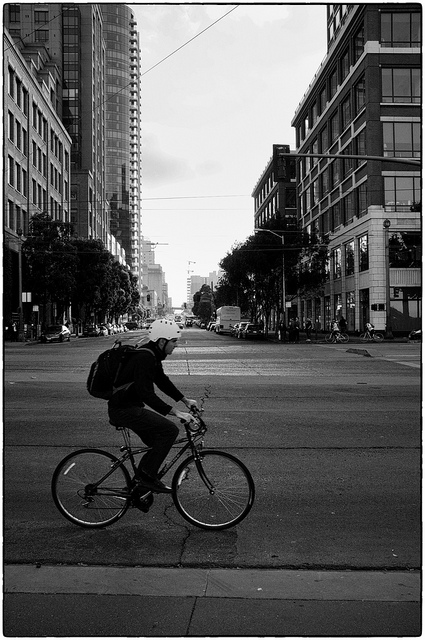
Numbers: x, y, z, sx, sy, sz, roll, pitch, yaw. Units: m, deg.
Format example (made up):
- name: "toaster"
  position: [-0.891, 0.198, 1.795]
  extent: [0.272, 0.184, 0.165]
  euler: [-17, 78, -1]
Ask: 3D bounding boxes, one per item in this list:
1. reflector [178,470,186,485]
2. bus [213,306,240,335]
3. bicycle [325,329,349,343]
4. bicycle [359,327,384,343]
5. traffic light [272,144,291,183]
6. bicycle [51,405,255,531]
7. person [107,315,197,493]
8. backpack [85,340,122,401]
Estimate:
- name: "reflector"
  position: [-0.239, 1.184, 7.332]
  extent: [0.019, 0.107, 0.072]
  euler: [1, 0, 42]
- name: "bus"
  position: [1.079, 0.054, 74.890]
  extent: [1.818, 2.839, 5.414]
  euler: [1, 3, 0]
- name: "bicycle"
  position: [5.745, 0.742, 44.964]
  extent: [1.006, 0.793, 0.571]
  euler: [2, -7, 3]
- name: "bicycle"
  position: [6.802, 0.650, 41.935]
  extent: [0.966, 0.758, 0.538]
  euler: [1, -3, 20]
- name: "traffic light"
  position: [1.527, -3.547, 21.911]
  extent: [0.383, 0.888, 1.523]
  euler: [1, -1, 4]
- name: "bicycle"
  position: [-0.460, 1.162, 7.460]
  extent: [1.511, 0.892, 1.116]
  euler: [2, 42, -5]
- name: "person"
  position: [-0.457, 0.643, 7.264]
  extent: [0.631, 1.313, 0.510]
  euler: [1, 0, -20]
- name: "backpack"
  position: [-0.757, 0.433, 7.160]
  extent: [0.310, 0.390, 0.318]
  euler: [17, -11, -4]
